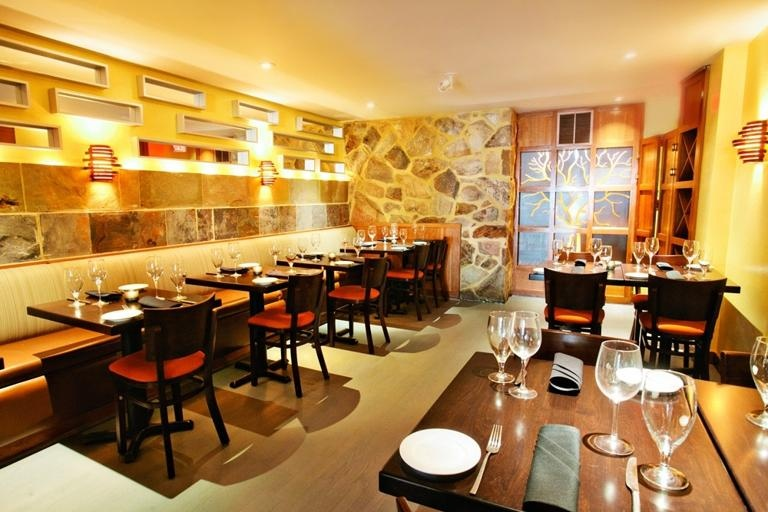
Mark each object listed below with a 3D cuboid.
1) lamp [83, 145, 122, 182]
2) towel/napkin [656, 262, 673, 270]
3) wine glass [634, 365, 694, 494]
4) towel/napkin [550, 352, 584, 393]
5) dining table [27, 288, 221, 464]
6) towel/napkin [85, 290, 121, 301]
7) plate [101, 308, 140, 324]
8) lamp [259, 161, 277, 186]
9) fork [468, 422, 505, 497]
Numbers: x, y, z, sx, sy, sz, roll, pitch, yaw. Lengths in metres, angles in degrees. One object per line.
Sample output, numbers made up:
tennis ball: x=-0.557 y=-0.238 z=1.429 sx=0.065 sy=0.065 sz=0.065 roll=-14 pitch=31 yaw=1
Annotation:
lamp: x=-2.965 y=-0.979 z=4.989 sx=0.340 sy=0.390 sz=0.242 roll=-6 pitch=10 yaw=-37
towel/napkin: x=3.002 y=0.113 z=5.073 sx=0.090 sy=0.033 sz=0.147 roll=-1 pitch=6 yaw=17
wine glass: x=1.364 y=0.821 z=2.306 sx=0.227 sy=0.514 sz=0.324 roll=4 pitch=9 yaw=28
towel/napkin: x=1.054 y=0.653 z=2.730 sx=0.172 sy=0.053 sz=0.236 roll=15 pitch=30 yaw=24
dining table: x=-1.920 y=0.977 z=3.885 sx=1.208 sy=1.305 sz=0.640 roll=3 pitch=9 yaw=21
towel/napkin: x=-2.444 y=0.346 z=4.121 sx=0.162 sy=0.046 sz=0.136 roll=1 pitch=4 yaw=17
plate: x=-2.058 y=0.463 z=3.696 sx=0.299 sy=0.051 sz=0.280 roll=-2 pitch=8 yaw=-17
lamp: x=-1.650 y=-1.192 z=6.821 sx=0.190 sy=0.347 sz=0.299 roll=4 pitch=9 yaw=29
fork: x=0.554 y=0.972 z=2.416 sx=0.086 sy=0.071 sz=0.511 roll=4 pitch=40 yaw=33
